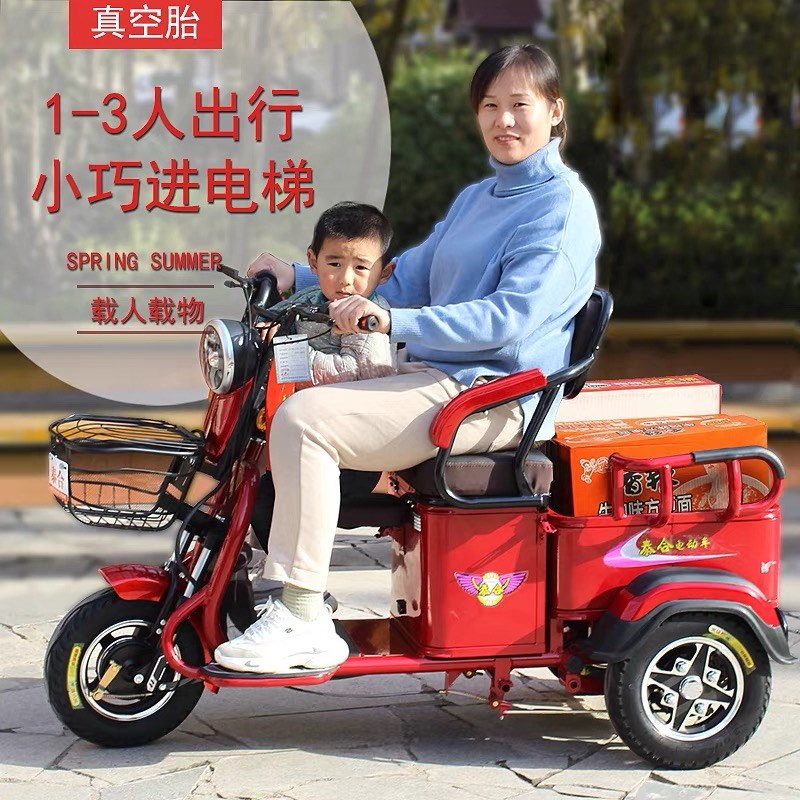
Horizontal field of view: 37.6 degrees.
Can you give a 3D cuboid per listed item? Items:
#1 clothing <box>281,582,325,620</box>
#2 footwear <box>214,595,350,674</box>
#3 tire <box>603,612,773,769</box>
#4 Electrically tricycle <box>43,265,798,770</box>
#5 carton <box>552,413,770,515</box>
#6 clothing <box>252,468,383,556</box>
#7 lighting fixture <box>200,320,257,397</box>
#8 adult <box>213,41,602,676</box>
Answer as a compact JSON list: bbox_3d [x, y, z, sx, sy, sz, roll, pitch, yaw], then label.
[{"bbox_3d":[-0.239,0.480,2.844,0.089,0.070,0.102,2,-2,4],"label":"clothing"},{"bbox_3d":[-0.293,0.553,2.800,0.368,0.156,0.123,4,-1,-37],"label":"footwear"},{"bbox_3d":[0.771,0.717,2.945,0.156,0.398,0.475,25,-29,-36],"label":"tire"},{"bbox_3d":[0.200,0.330,3.362,2.172,1.011,1.032,1,2,-5],"label":"Electrically tricycle"},{"bbox_3d":[0.612,0.161,2.933,0.566,0.238,0.218,-3,18,-12],"label":"carton"},{"bbox_3d":[-0.225,0.263,2.969,0.283,0.064,0.264,-1,9,-3],"label":"clothing"},{"bbox_3d":[-0.431,-0.104,2.888,0.115,0.195,0.164,-4,11,-23],"label":"lighting fixture"},{"bbox_3d":[0.033,-0.132,3.134,1.124,1.501,0.800,-4,6,-6],"label":"adult"}]
